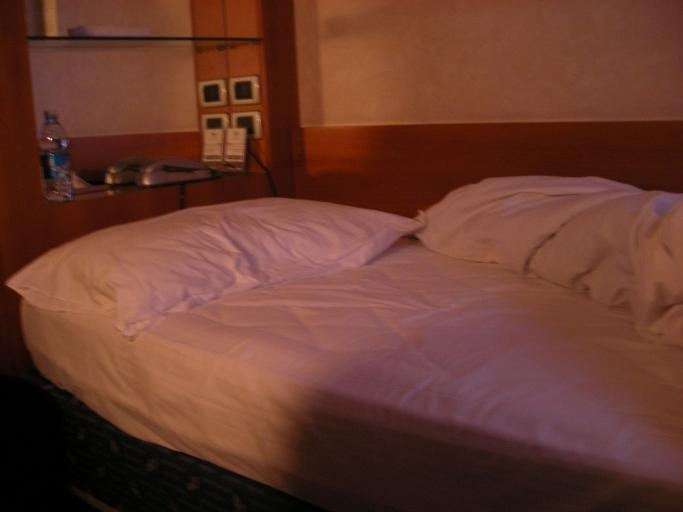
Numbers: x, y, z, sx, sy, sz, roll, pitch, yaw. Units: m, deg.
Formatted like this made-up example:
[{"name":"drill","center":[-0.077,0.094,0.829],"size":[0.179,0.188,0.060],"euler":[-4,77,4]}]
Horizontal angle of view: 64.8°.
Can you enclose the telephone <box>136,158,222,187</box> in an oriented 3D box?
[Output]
[{"name":"telephone","center":[-0.667,-0.349,2.139],"size":[0.198,0.061,0.119],"euler":[-14,22,-43]}]

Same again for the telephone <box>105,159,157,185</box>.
[{"name":"telephone","center":[-0.825,-0.321,2.069],"size":[0.095,0.052,0.166],"euler":[7,16,18]}]

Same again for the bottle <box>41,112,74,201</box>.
[{"name":"bottle","center":[-1.003,-0.357,1.887],"size":[0.095,0.301,0.322],"euler":[-7,14,-25]}]
